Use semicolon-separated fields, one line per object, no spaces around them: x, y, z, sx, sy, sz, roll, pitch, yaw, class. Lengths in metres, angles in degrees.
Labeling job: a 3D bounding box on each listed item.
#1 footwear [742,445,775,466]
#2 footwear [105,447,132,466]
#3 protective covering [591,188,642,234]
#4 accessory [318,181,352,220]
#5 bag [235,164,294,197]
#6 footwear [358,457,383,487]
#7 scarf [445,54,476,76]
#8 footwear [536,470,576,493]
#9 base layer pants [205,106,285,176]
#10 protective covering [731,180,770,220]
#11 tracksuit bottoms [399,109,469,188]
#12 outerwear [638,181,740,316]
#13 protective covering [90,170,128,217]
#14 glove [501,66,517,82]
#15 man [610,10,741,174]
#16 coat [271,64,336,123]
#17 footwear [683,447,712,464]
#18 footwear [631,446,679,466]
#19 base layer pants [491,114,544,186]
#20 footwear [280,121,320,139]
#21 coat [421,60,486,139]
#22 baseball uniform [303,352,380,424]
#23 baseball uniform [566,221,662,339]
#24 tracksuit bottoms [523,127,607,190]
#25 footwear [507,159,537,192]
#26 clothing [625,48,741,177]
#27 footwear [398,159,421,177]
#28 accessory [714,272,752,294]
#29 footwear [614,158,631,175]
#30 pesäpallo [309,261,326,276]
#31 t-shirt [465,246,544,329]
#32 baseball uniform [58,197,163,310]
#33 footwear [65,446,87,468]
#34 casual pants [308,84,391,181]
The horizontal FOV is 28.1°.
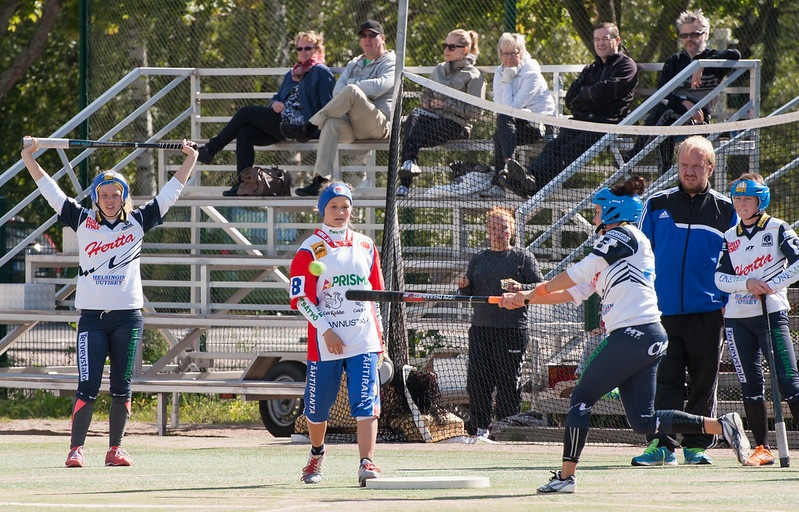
3.923;2.153;17.301;0.490;0.201;0.161;4;-6;-26;footwear
-3.060;2.183;17.540;0.304;0.127;0.174;-4;-5;37;footwear
2.241;-0.525;16.320;0.478;0.397;0.334;4;-4;13;protective covering
-0.664;-0.647;16.846;0.321;0.221;0.392;-4;17;1;accessory
-1.735;-0.975;20.751;0.717;0.379;0.404;0;-10;-28;bag
-0.293;2.187;16.330;0.217;0.282;0.362;2;-6;-1;footwear
0.833;-2.493;20.607;0.252;0.149;0.306;8;16;44;scarf
1.582;2.236;15.937;0.377;0.217;0.228;1;-6;6;footwear
-2.212;-1.573;21.221;1.203;0.643;0.526;-18;4;20;base layer pants
3.845;-0.640;17.535;0.389;0.416;0.494;-1;-10;30;protective covering
0.377;-1.430;20.289;0.706;1.059;0.578;36;21;25;tracksuit bottoms
3.203;-0.057;17.504;1.596;1.785;0.690;1;-3;7;outerwear
-3.205;-0.730;17.857;0.420;0.469;0.488;0;-17;-7;protective covering
1.419;-2.362;20.447;0.153;0.176;0.189;8;-4;-18;glove
3.542;-2.031;20.116;1.564;2.254;1.284;4;2;-39;man
-1.255;-2.231;21.320;0.948;0.691;0.506;4;3;19;coat
3.305;2.185;17.609;0.139;0.136;0.325;4;-8;-33;footwear
2.807;2.185;17.601;0.533;0.219;0.198;4;-10;-3;footwear
1.482;-1.502;20.024;0.562;0.578;0.496;-6;24;-14;base layer pants
-1.300;-1.678;21.108;0.384;0.136;0.262;8;1;-24;footwear
0.696;-1.952;20.002;0.846;0.787;0.530;15;-14;22;coat
-0.581;1.339;16.701;0.996;0.831;0.357;-2;-15;4;baseball uniform
2.137;0.268;16.582;1.218;1.154;0.971;2;-18;-3;baseball uniform
2.064;-1.443;20.460;0.446;0.476;1.967;18;-5;-11;tracksuit bottoms
1.514;-1.038;19.794;0.261;0.452;0.190;-48;-7;28;footwear
3.664;-1.952;20.162;0.874;2.078;1.243;4;11;31;clothing
0.129;-1.135;20.031;0.252;0.125;0.373;1;5;1;footwear
3.627;0.268;17.426;0.227;0.141;0.291;-2;1;-38;accessory
2.769;-1.135;19.816;0.194;0.053;0.197;36;6;21;footwear
-0.838;0.110;16.517;0.159;0.136;0.147;-1;4;-17;pesäpallo
1.233;0.355;18.488;0.965;0.841;0.541;-3;-11;19;t-shirt
-3.186;-0.104;17.828;1.300;1.273;0.453;2;-2;-5;baseball uniform
-3.532;2.179;17.492;0.203;0.220;0.262;3;-6;-11;footwear
-0.558;-1.823;20.960;1.097;1.634;0.828;5;-10;-19;casual pants
